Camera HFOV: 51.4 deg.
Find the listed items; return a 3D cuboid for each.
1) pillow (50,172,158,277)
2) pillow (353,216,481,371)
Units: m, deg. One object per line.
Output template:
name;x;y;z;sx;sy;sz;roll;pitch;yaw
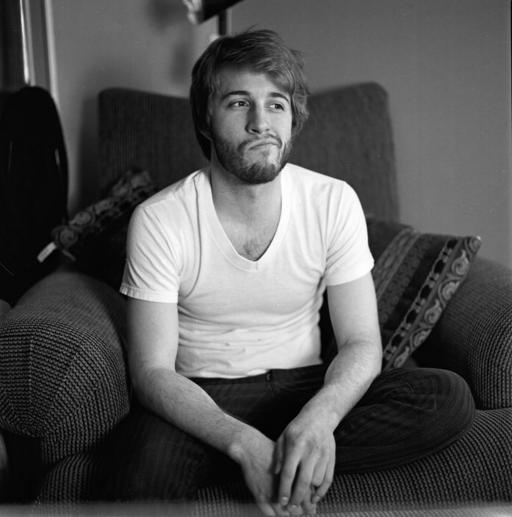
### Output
pillow;-0.469;-0.107;1.739;0.302;0.265;0.110;-39;-11;-20
pillow;0.431;-0.006;1.517;0.408;0.101;0.429;17;57;40
